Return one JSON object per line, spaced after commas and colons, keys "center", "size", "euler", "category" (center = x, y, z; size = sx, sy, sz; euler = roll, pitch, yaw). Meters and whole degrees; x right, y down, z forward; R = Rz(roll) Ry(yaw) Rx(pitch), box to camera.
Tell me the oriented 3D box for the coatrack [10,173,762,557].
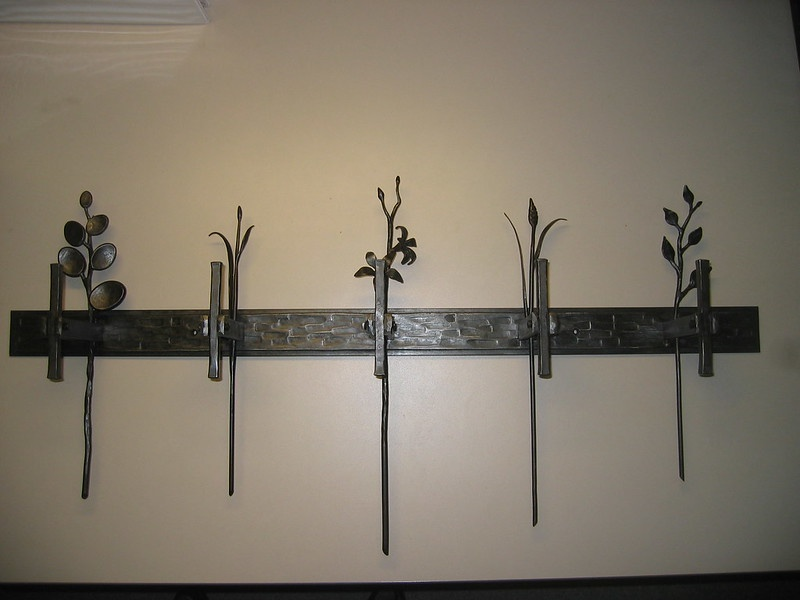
{"center": [-0.066, 0.170, 2.332], "size": [2.241, 1.137, 0.226], "euler": [0, -10, -1], "category": "coatrack"}
